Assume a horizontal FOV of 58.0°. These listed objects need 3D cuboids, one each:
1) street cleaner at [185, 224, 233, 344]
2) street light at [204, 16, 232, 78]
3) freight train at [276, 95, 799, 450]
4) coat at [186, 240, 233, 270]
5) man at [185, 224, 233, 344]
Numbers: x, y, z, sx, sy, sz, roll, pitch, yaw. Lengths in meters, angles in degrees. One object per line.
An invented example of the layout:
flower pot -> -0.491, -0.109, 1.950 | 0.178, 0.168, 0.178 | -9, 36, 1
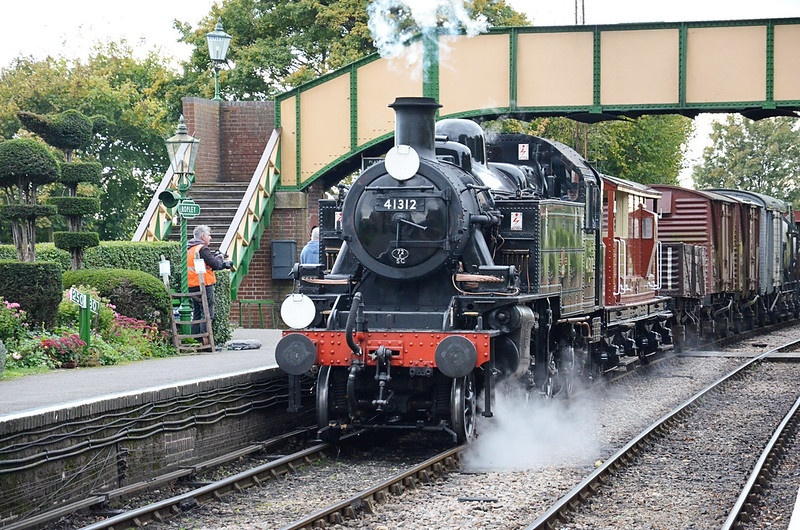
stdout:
street cleaner -> -3.824, 0.387, 14.563 | 0.810, 2.362, 0.881 | 8, 12, 29
street light -> -4.952, -6.102, 19.828 | 0.742, 1.418, 0.796 | 10, 12, 25
freight train -> 7.992, -0.035, 21.656 | 3.270, 6.322, 30.384 | -2, -4, 36
coat -> -3.714, -0.198, 14.170 | 0.651, 0.566, 0.936 | 2, -4, -30
man -> -3.836, 0.385, 14.542 | 0.872, 2.384, 0.829 | 5, 10, 12
